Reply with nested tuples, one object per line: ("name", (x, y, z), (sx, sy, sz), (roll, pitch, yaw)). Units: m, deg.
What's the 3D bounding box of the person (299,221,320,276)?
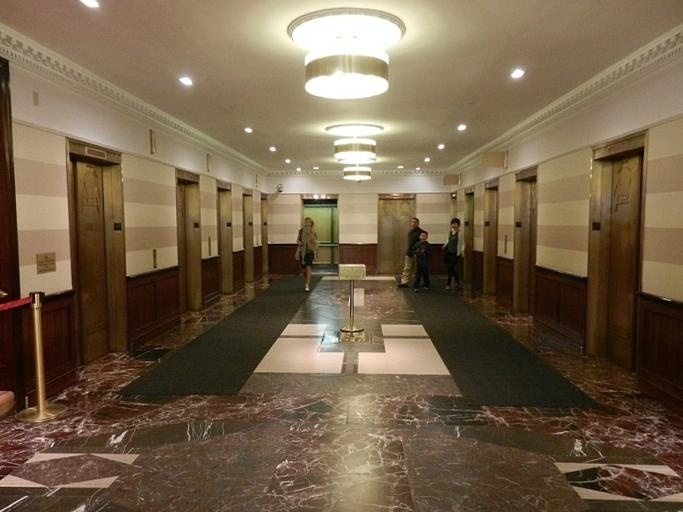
("person", (-0.908, -0.245, 11.736), (0.519, 1.620, 1.156), (-1, 3, -5))
